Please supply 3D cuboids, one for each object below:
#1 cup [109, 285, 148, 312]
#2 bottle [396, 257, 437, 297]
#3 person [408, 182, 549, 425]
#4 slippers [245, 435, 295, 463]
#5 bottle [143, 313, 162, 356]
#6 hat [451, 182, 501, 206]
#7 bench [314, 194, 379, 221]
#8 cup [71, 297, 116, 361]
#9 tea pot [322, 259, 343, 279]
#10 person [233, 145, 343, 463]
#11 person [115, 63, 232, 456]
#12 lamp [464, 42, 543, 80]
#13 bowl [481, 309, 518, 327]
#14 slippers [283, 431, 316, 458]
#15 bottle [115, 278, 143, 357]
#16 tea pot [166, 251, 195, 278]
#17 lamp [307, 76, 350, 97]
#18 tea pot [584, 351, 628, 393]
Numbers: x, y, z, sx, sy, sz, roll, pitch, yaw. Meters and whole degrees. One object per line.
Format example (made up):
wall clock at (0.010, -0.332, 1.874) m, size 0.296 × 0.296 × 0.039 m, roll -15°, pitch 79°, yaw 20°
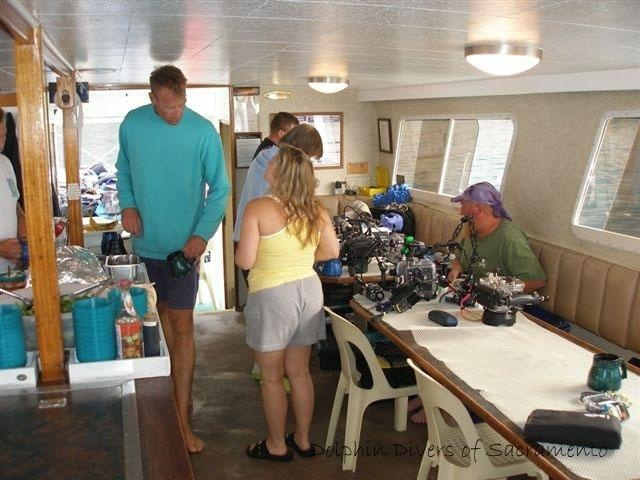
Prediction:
cup at (-0.764, 0.248, 1.918) m, size 0.126 × 0.118 × 0.129 m, roll 6°, pitch 20°, yaw -2°
bottle at (0.611, 0.243, 2.971) m, size 0.291 × 0.226 × 0.143 m, roll 9°, pitch -11°, yaw -10°
person at (1.337, 0.467, 3.798) m, size 1.215 × 1.829 × 1.024 m, roll 2°, pitch 2°, yaw -36°
slippers at (-0.328, 1.458, 3.009) m, size 0.279 × 0.079 × 0.125 m, roll 3°, pitch -1°, yaw 10°
bottle at (-0.631, 0.378, 1.740) m, size 0.064 × 0.164 × 0.139 m, roll -6°, pitch 16°, yaw -21°
hat at (1.219, -0.416, 3.645) m, size 0.343 × 0.132 × 0.202 m, roll 3°, pitch 9°, yaw 20°
bench at (0.345, -0.452, 5.377) m, size 0.773 × 0.234 × 0.231 m, roll 7°, pitch 30°, yaw 30°
cup at (-0.829, 0.353, 1.723) m, size 0.144 × 0.222 × 0.199 m, roll -7°, pitch 17°, yaw -24°
tea pot at (0.099, 0.226, 3.719) m, size 0.189 × 0.140 × 0.167 m, roll 1°, pitch -1°, yaw -7°
person at (-0.177, 0.476, 2.758) m, size 0.592 × 2.154 × 0.298 m, roll -6°, pitch 18°, yaw -19°
person at (-0.911, 0.226, 2.850) m, size 0.625 × 2.633 × 0.597 m, roll 5°, pitch 17°, yaw 17°
lamp at (0.953, -1.049, 2.418) m, size 0.470 × 0.124 × 0.343 m, roll -9°, pitch 16°, yaw -35°
bowl at (1.048, 0.476, 2.708) m, size 0.141 × 0.045 × 0.134 m, roll 1°, pitch 8°, yaw 0°
slippers at (-0.137, 1.463, 3.101) m, size 0.093 × 0.076 × 0.240 m, roll -7°, pitch 14°, yaw -36°
bottle at (-0.727, 0.302, 1.755) m, size 0.095 × 0.310 × 0.244 m, roll -7°, pitch 17°, yaw -22°
tea pot at (-0.755, 0.119, 2.485) m, size 0.191 × 0.150 × 0.117 m, roll -1°, pitch -17°, yaw -37°
lamp at (0.062, -1.704, 4.569) m, size 0.392 × 0.124 × 0.309 m, roll 3°, pitch 14°, yaw 11°
tea pot at (1.235, 0.609, 2.030) m, size 0.222 × 0.172 × 0.154 m, roll 2°, pitch 2°, yaw -2°
